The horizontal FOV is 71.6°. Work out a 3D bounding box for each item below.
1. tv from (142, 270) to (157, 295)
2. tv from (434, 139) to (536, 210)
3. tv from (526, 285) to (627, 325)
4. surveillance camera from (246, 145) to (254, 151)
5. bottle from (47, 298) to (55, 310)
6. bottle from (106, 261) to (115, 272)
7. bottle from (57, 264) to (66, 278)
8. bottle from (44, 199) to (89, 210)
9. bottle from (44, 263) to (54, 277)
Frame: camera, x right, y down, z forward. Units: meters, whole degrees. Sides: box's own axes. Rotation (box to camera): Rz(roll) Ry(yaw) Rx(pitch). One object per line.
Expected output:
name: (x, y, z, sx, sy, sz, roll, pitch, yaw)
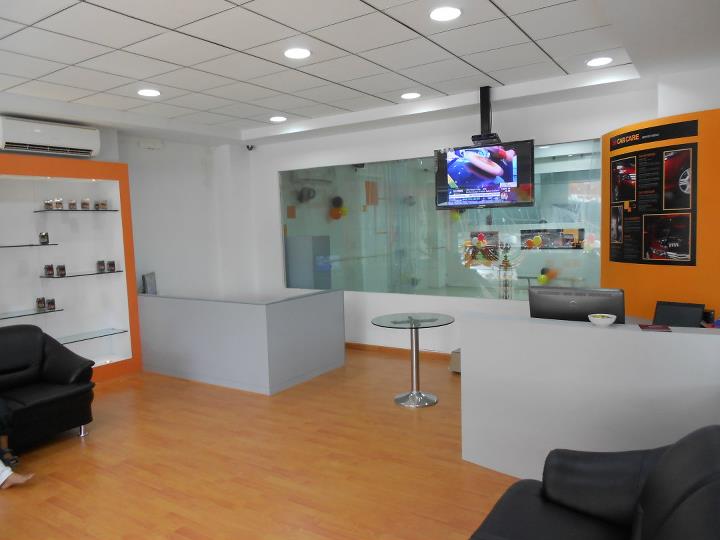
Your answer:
tv: (-3.131, 0.191, 7.412, 0.028, 0.342, 0.327, 1, 5, 22)
tv: (1.583, -1.187, 6.225, 0.904, 0.560, 0.071, 2, 9, 28)
tv: (1.709, 0.270, 3.982, 0.692, 0.262, 0.159, 2, 10, 23)
surveillance camera: (-1.875, -2.084, 8.524, 0.132, 0.076, 0.097, -4, 9, -11)
bottle: (-3.874, 0.429, 6.266, 0.095, 0.134, 0.169, -8, 11, -32)
bottle: (-3.358, -0.047, 6.738, 0.122, 0.175, 0.094, 1, 9, -7)
bottle: (-3.792, 0.007, 6.356, 0.113, 0.147, 0.191, -7, 11, -31)
bottle: (-3.720, -0.837, 6.410, 0.240, 0.158, 0.580, 7, 13, 43)
bottle: (-3.901, 0.001, 6.276, 0.120, 0.153, 0.117, -2, 9, 0)
